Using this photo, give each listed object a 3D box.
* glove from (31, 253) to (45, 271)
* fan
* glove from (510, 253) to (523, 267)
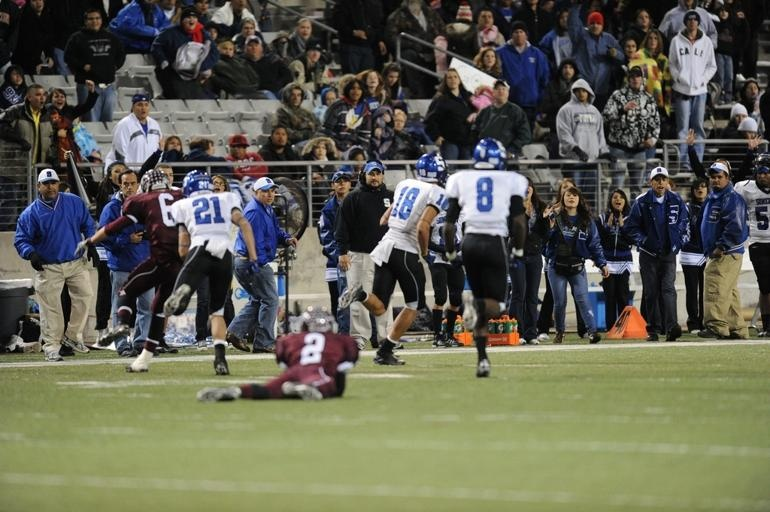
[{"bbox_3d":[-5.533,0.127,23.462,0.202,0.313,0.180,-4,14,-14],"label":"glove"},{"bbox_3d":[-1.683,-0.098,26.695,0.671,2.609,0.557,1,-2,-15],"label":"fan"},{"bbox_3d":[2.187,0.111,23.988,0.170,0.193,0.116,11,4,-15],"label":"glove"}]
